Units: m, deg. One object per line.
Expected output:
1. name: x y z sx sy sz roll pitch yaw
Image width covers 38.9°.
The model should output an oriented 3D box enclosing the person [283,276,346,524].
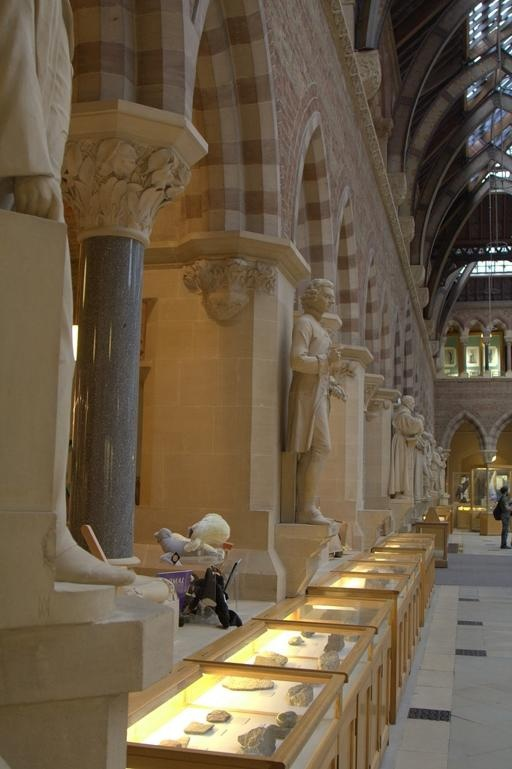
1. person: 0.465 0.079 5.755 0.442 1.991 1.171 0 -6 6
